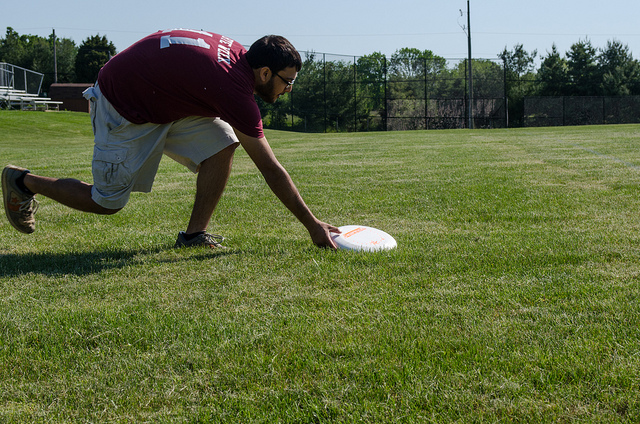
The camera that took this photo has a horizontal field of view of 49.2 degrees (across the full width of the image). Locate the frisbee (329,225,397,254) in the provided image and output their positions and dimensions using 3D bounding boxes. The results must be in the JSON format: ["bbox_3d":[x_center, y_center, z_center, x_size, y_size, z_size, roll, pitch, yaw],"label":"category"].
[{"bbox_3d":[0.336,0.222,5.523,0.479,0.127,0.451,7,14,35],"label":"frisbee"}]
